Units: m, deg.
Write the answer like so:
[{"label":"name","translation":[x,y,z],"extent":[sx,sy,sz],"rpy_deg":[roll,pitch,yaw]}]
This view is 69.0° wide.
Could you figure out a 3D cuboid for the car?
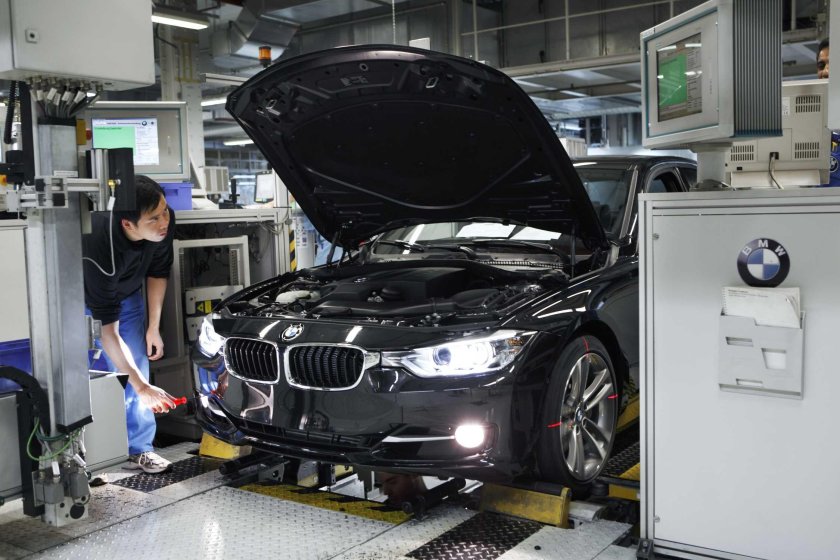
[{"label":"car","translation":[0.022,-0.082,3.965],"extent":[2.830,2.640,1.806],"rpy_deg":[-2,10,7]}]

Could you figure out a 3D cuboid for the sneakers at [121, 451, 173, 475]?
[{"label":"sneakers","translation":[-1.924,1.313,4.363],"extent":[0.364,0.132,0.171],"rpy_deg":[2,4,7]}]

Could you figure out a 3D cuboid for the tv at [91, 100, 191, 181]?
[{"label":"tv","translation":[-2.969,-1.504,6.584],"extent":[0.958,0.879,0.385],"rpy_deg":[-6,10,-17]}]

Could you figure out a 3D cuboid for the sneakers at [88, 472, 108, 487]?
[{"label":"sneakers","translation":[-2.205,1.384,4.222],"extent":[0.104,0.035,0.142],"rpy_deg":[-9,11,-30]}]

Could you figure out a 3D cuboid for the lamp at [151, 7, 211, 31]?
[{"label":"lamp","translation":[-3.304,-3.625,8.362],"extent":[0.320,0.185,0.892],"rpy_deg":[3,11,34]}]

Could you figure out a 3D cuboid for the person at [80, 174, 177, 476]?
[{"label":"person","translation":[-2.071,0.280,4.567],"extent":[0.694,2.087,1.017],"rpy_deg":[-9,11,-28]}]
